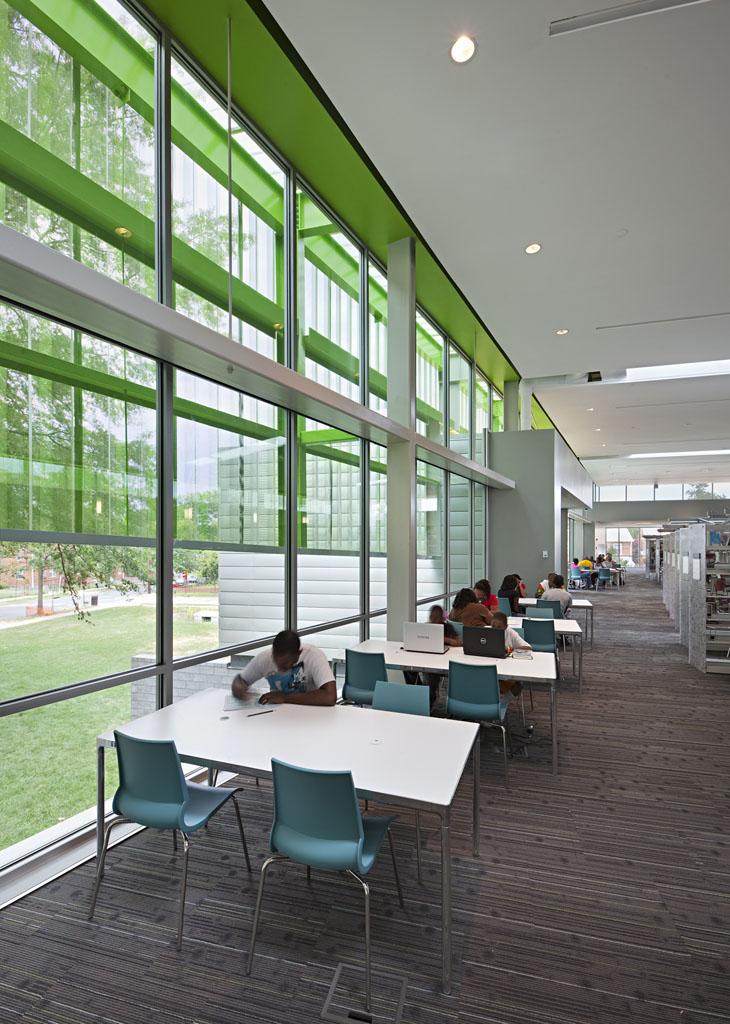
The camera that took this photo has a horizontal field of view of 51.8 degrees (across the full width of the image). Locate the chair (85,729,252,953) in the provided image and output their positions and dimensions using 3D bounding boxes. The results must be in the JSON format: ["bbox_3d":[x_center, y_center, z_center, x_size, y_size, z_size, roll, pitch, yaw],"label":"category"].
[{"bbox_3d":[-0.856,1.318,3.299,0.542,0.829,0.624,1,9,9],"label":"chair"}]

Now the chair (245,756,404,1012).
[{"bbox_3d":[-0.152,1.377,3.018,0.692,0.946,0.711,-3,10,-5],"label":"chair"}]

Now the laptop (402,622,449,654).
[{"bbox_3d":[0.427,0.942,5.601,0.281,0.212,0.212,1,1,29],"label":"laptop"}]

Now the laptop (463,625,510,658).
[{"bbox_3d":[0.856,0.886,5.417,0.285,0.216,0.207,2,5,29],"label":"laptop"}]
